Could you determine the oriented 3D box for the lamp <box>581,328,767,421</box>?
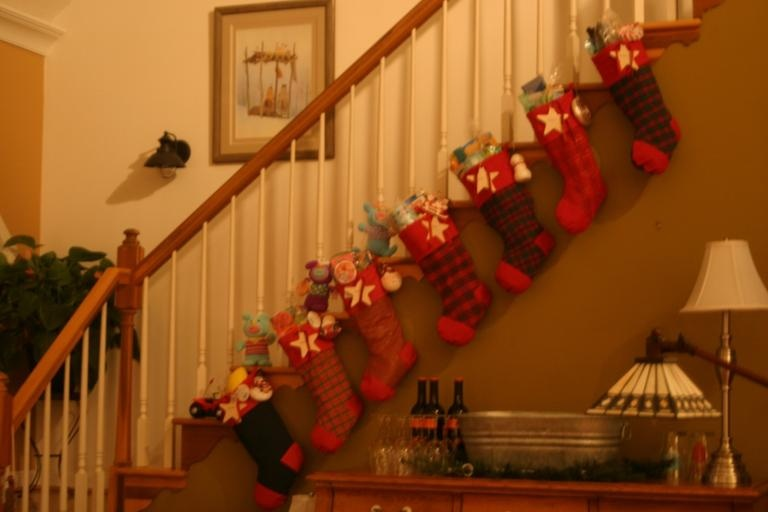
[{"bbox_3d":[1.309,0.546,3.885,0.727,0.402,0.253,-3,-3,14],"label":"lamp"}]

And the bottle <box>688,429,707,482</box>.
[{"bbox_3d":[1.437,0.911,3.852,0.094,0.257,0.104,-3,23,11],"label":"bottle"}]

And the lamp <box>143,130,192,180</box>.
[{"bbox_3d":[-1.334,-0.624,5.210,0.242,0.338,0.287,1,2,37],"label":"lamp"}]

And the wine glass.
[{"bbox_3d":[0.112,0.916,3.967,0.284,0.232,0.294,4,-5,-25],"label":"wine glass"}]

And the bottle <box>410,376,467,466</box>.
[{"bbox_3d":[0.266,0.814,4.043,0.270,0.438,0.127,7,-15,-29],"label":"bottle"}]
